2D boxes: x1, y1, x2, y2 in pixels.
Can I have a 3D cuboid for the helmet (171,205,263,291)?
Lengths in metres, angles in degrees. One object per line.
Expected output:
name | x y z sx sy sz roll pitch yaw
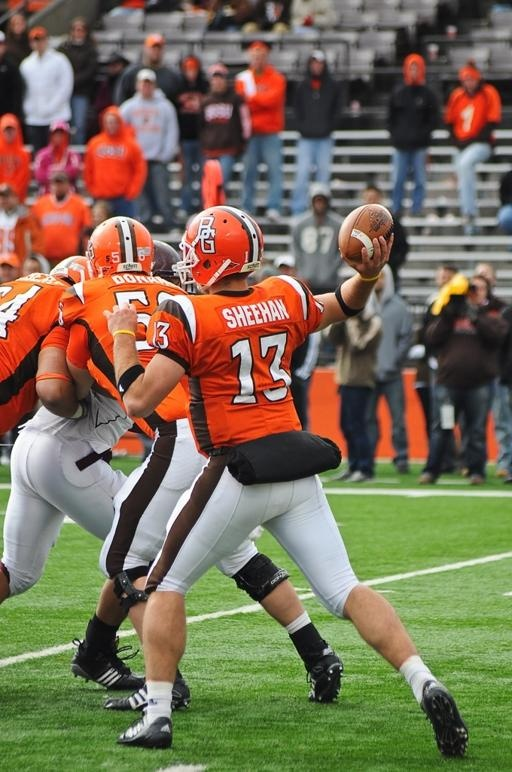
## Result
helmet | -0.095 -0.382 2.766 0.258 0.212 0.200 7 9 33

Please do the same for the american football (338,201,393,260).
american football | 0.323 -0.448 2.863 0.149 0.187 0.193 1 2 8

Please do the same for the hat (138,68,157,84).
hat | -1.310 -3.788 11.827 0.263 0.179 0.250 0 -1 -10

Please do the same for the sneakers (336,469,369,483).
sneakers | 0.942 0.889 9.539 0.112 0.134 0.353 3 -15 -28

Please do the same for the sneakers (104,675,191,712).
sneakers | -0.362 0.922 2.930 0.312 0.134 0.098 -3 -23 6

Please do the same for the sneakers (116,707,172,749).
sneakers | -0.264 0.850 2.405 0.152 0.073 0.059 -17 -41 43

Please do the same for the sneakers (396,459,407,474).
sneakers | 1.519 0.842 10.175 0.093 0.118 0.127 3 0 14

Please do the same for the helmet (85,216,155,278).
helmet | -0.471 -0.470 3.321 0.233 0.208 0.192 0 2 -3

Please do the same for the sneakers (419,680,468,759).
sneakers | 0.466 0.790 2.318 0.079 0.207 0.099 -15 31 22

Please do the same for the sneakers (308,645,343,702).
sneakers | 0.221 0.877 2.987 0.114 0.155 0.104 0 2 -13
